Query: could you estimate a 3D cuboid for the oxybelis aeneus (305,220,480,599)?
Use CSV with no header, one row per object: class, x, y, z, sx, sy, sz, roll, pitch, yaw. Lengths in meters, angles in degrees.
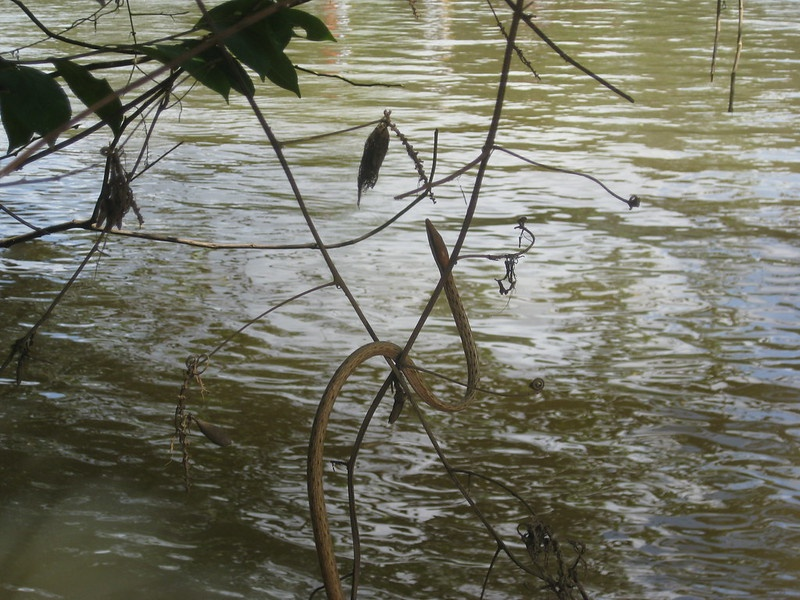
oxybelis aeneus,-0.032,0.694,7.445,0.893,2.224,1.562,-4,28,3
